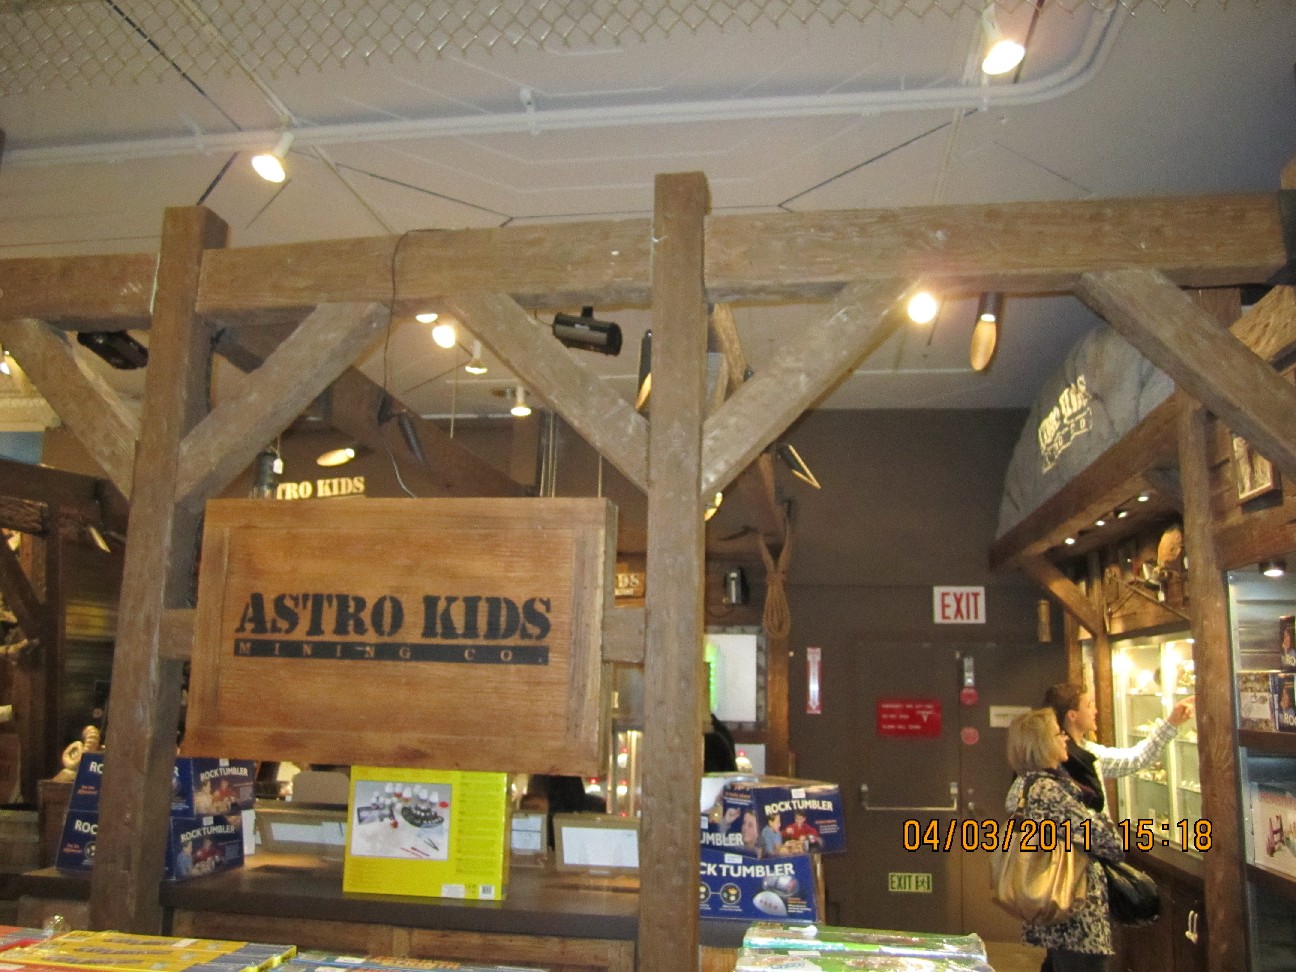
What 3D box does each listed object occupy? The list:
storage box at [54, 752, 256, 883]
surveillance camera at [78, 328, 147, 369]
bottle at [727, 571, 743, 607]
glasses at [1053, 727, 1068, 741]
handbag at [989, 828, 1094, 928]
[{"bbox_3d":[-2.204,1.498,5.418,0.627,0.487,0.643,1,2,-2],"label":"storage box"},{"bbox_3d":[-2.749,-0.705,6.092,0.240,0.183,0.411,3,3,-42],"label":"surveillance camera"},{"bbox_3d":[0.747,0.864,10.426,0.153,0.281,0.130,0,-19,3],"label":"bottle"},{"bbox_3d":[2.207,1.323,6.430,0.072,0.029,0.102,11,20,-14],"label":"glasses"},{"bbox_3d":[1.986,1.955,6.047,0.469,0.447,0.257,-5,-20,17],"label":"handbag"}]
